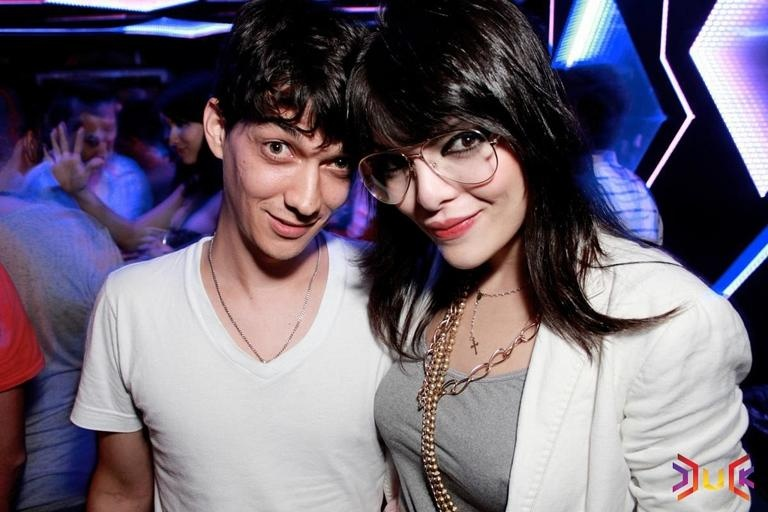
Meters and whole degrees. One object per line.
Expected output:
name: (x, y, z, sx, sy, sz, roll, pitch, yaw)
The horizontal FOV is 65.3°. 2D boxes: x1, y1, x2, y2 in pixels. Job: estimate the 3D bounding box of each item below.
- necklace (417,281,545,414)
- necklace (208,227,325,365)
necklace: (0.344, 0.432, 2.641, 0.350, 0.076, 0.509, 6, 60, 37)
necklace: (-0.496, 0.227, 2.889, 0.392, 0.661, 0.128, -1, -10, -5)
